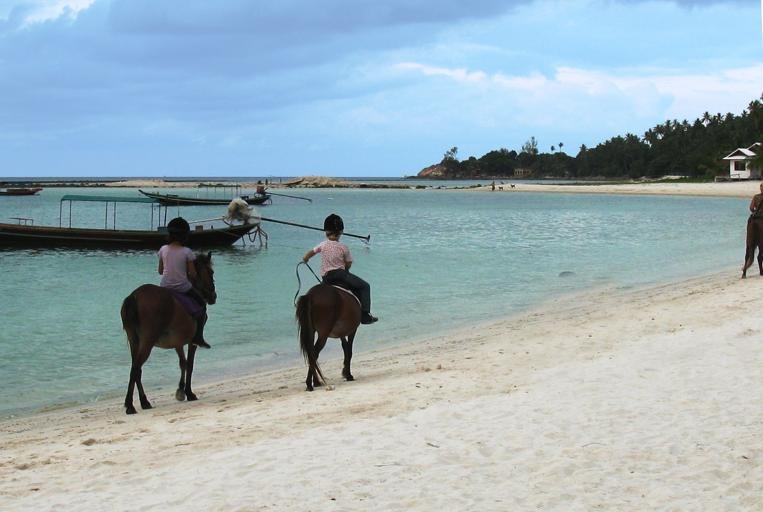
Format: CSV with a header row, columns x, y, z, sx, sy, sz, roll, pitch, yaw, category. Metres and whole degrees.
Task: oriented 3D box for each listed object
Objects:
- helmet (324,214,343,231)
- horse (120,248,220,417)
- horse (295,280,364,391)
x,y,z,sx,sy,sz,roll,pitch,yaw,category
-0.984,-0.685,15.870,0.353,0.244,0.423,1,5,3,helmet
-4.322,1.553,15.152,1.160,3.035,1.695,1,10,26,horse
-1.087,1.659,15.740,0.680,2.185,1.329,5,12,41,horse
